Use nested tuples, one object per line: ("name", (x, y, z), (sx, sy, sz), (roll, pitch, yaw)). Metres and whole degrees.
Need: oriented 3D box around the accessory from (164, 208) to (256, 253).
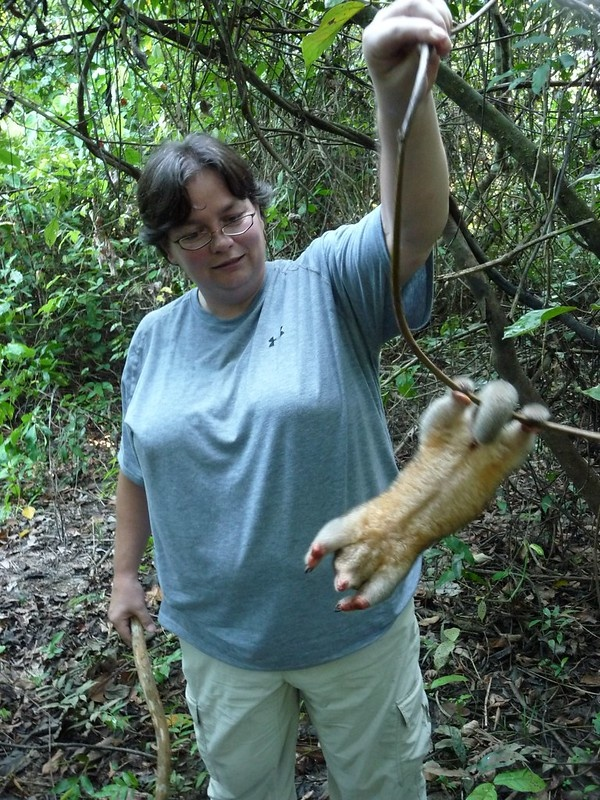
("accessory", (-0.230, -0.452, 2.177), (0.221, 0.094, 0.089), (-7, 2, -6))
